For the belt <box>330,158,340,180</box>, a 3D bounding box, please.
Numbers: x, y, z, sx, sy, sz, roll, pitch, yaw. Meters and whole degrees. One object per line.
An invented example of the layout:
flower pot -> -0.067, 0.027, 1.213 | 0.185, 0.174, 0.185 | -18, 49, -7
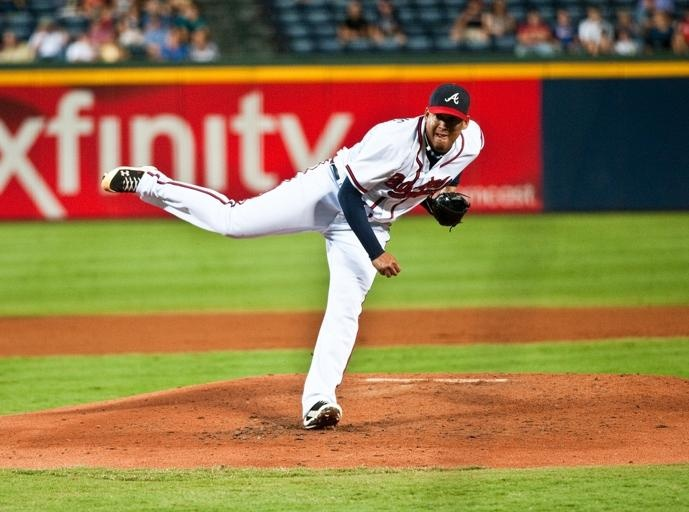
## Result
belt -> -0.089, -0.700, 10.792 | 0.058, 0.183, 0.044 | -22, -15, 15

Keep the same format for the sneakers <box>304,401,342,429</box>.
sneakers -> -0.162, 1.252, 10.607 | 0.337, 0.135, 0.167 | -12, -28, 42

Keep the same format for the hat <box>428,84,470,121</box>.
hat -> 0.801, -1.192, 10.465 | 0.318, 0.296, 0.230 | -2, 15, 3
